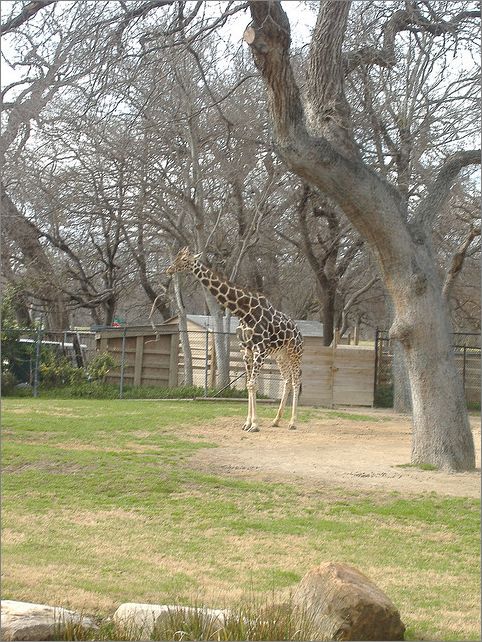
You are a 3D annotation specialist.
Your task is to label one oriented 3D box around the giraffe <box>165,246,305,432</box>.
[{"bbox_3d":[0.107,0.372,14.493,2.927,4.050,2.060,3,-2,-5],"label":"giraffe"}]
